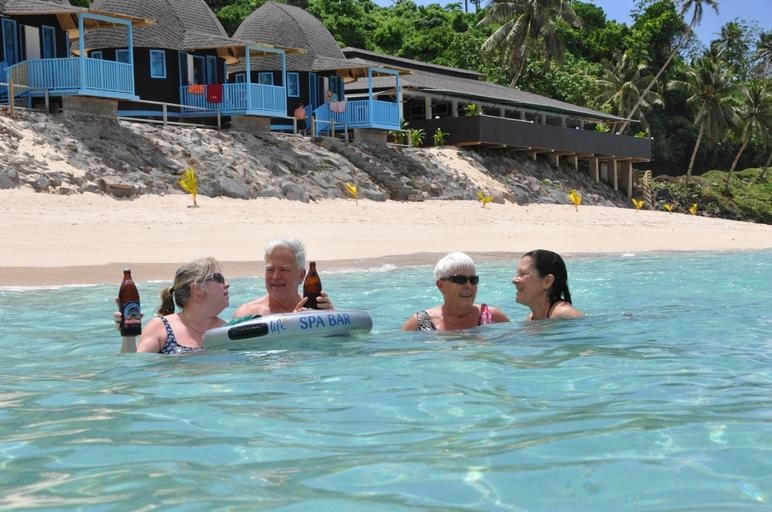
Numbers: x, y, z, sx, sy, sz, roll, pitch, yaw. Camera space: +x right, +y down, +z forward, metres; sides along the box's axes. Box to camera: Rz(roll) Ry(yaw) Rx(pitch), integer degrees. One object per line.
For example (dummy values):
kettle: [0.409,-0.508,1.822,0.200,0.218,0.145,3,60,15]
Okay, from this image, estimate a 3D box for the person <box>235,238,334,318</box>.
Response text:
person: [-1.067,0.213,7.091,0.521,0.783,0.660,-3,7,-21]

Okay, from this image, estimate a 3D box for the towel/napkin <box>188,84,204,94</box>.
towel/napkin: [-7.133,-6.226,27.139,0.661,0.157,0.536,0,5,-4]

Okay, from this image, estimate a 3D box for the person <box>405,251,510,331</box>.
person: [0.907,0.471,9.366,1.363,0.671,0.525,-3,-2,-22]

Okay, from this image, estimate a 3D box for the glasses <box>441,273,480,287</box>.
glasses: [0.720,0.238,6.928,0.380,0.124,0.123,-2,6,-16]

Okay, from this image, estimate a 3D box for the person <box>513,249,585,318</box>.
person: [1.584,0.309,7.246,0.529,0.759,0.471,2,7,19]

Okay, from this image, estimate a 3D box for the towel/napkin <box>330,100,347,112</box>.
towel/napkin: [-2.005,-6.155,29.859,0.631,0.270,0.508,1,10,1]

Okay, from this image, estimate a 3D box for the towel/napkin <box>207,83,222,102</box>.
towel/napkin: [-6.277,-5.949,26.547,0.813,0.573,0.245,-3,1,18]

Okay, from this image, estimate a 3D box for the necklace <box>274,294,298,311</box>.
necklace: [-0.951,0.457,7.187,0.173,0.160,0.216,2,-26,-47]

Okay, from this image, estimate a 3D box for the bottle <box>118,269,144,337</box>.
bottle: [-2.298,0.430,6.434,0.197,0.623,0.276,-3,7,-18]
